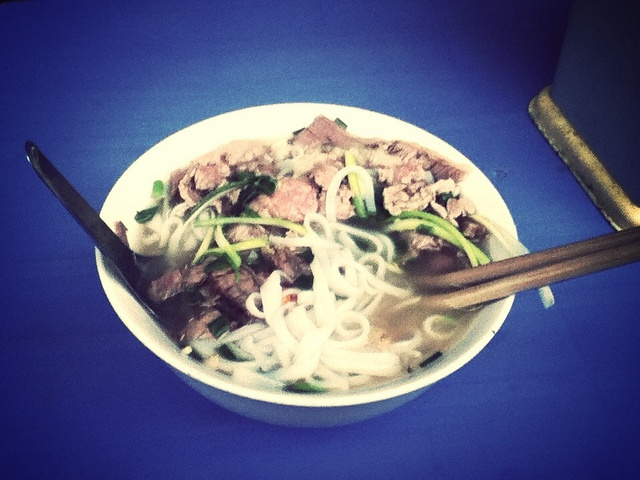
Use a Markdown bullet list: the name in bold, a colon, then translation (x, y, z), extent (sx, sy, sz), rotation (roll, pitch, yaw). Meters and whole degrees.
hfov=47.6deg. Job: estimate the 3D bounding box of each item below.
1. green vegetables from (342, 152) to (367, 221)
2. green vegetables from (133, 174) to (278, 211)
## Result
- **green vegetables**: translation (0.142, -0.212, 3.126), extent (0.063, 0.323, 0.050), rotation (-12, -2, -7)
- **green vegetables**: translation (-0.436, -0.212, 3.013), extent (0.415, 0.240, 0.079), rotation (-17, -9, -7)
